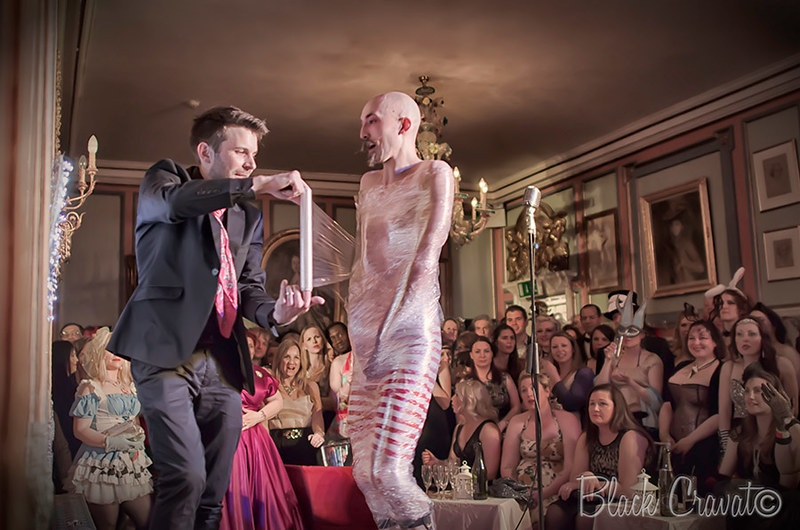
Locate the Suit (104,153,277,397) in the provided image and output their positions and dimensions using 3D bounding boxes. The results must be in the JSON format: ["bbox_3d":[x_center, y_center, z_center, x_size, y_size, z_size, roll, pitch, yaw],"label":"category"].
[{"bbox_3d":[-0.959,0.035,3.036,0.670,1.127,0.576,-1,-10,8],"label":"Suit"}]

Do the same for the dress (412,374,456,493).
[{"bbox_3d":[0.354,1.592,6.266,0.354,1.268,0.328,9,-50,17],"label":"dress"}]

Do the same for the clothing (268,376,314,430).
[{"bbox_3d":[-1.096,1.540,6.644,0.625,0.599,0.358,7,-28,-21],"label":"clothing"}]
